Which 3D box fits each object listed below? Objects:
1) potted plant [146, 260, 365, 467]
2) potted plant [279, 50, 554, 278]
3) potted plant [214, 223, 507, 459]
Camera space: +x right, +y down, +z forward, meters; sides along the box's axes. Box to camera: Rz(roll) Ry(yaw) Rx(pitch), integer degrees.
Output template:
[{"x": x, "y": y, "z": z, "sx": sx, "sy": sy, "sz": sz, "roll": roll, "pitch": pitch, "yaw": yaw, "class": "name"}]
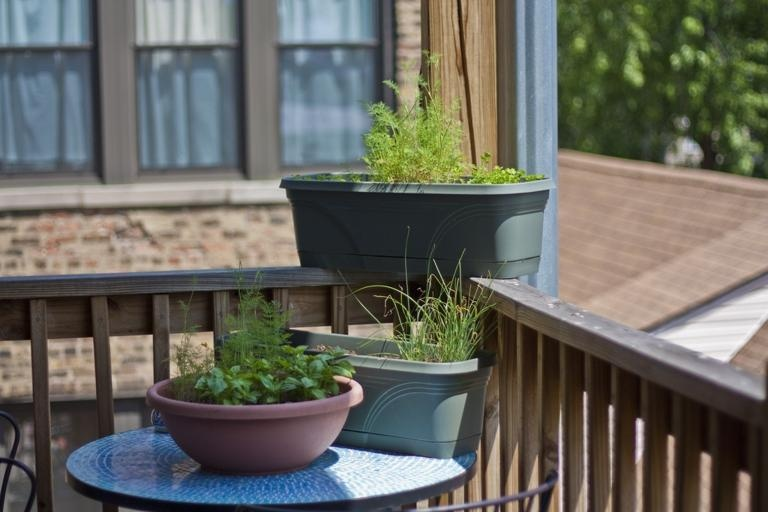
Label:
[{"x": -0.423, "y": 0.374, "z": 2.447, "sx": 0.456, "sy": 0.291, "sz": 0.410, "roll": -19, "pitch": 3, "yaw": -39, "class": "potted plant"}, {"x": 0.093, "y": -0.352, "z": 3.020, "sx": 1.029, "sy": 0.835, "sz": 0.460, "roll": 3, "pitch": 6, "yaw": 30, "class": "potted plant"}, {"x": -0.055, "y": 0.294, "z": 2.640, "sx": 1.392, "sy": 0.609, "sz": 0.806, "roll": -1, "pitch": -4, "yaw": 29, "class": "potted plant"}]
